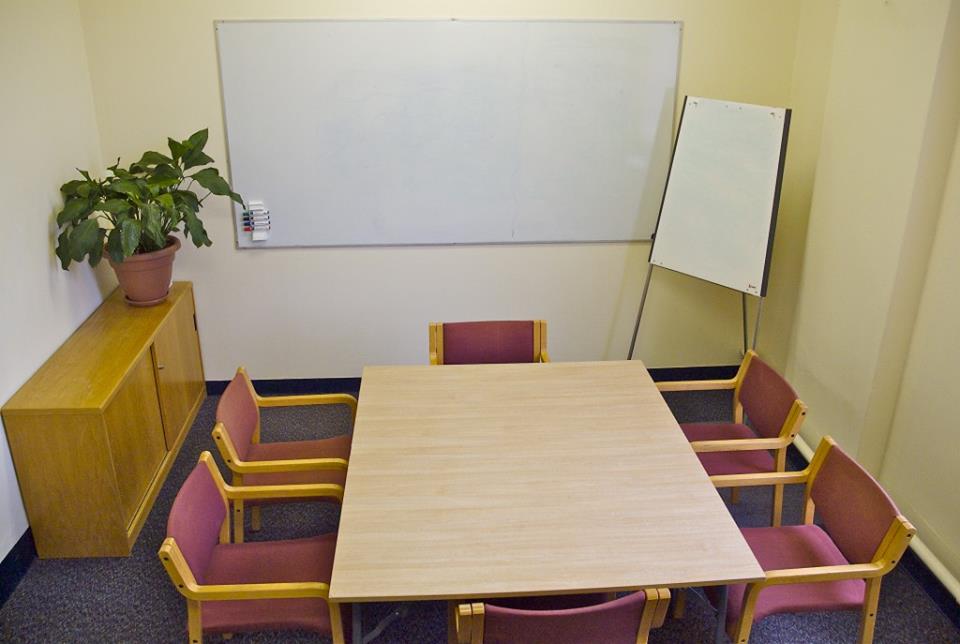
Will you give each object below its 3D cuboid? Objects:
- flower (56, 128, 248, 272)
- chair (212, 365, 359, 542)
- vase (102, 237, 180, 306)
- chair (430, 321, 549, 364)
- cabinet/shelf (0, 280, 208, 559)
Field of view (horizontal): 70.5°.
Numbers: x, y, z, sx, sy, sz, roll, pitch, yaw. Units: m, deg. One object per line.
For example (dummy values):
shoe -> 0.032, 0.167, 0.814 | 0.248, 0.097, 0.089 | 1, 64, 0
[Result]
flower -> -2.161, -0.845, 4.580 | 0.889, 0.570, 1.057 | -18, 9, 8
chair -> -1.167, 0.706, 4.080 | 0.871, 1.162, 0.838 | -1, 30, -5
vase -> -2.232, -0.310, 4.630 | 0.419, 0.354, 0.438 | -2, 29, -6
chair -> 0.058, 0.143, 4.424 | 0.761, 0.277, 0.260 | 0, 23, -6
cabinet/shelf -> -2.273, 0.595, 4.028 | 0.480, 0.874, 1.421 | 0, 25, -2
